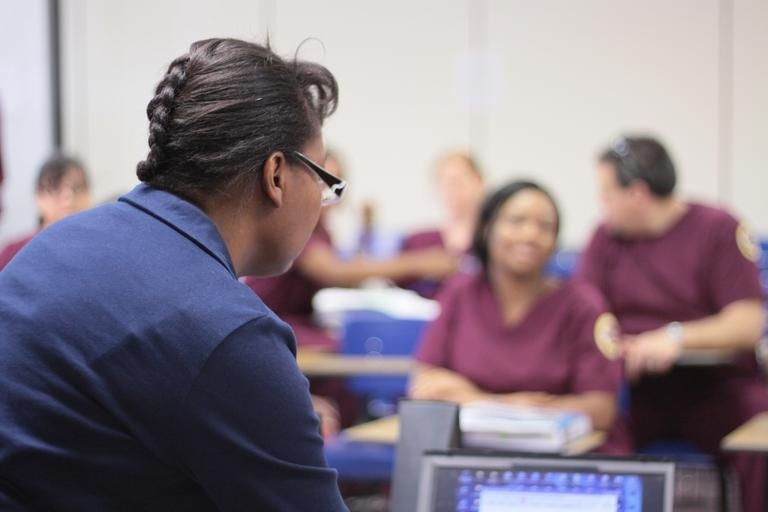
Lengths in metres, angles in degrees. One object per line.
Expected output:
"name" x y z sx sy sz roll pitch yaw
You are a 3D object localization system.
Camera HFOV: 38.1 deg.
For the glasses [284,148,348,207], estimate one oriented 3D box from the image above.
"glasses" -0.130 -0.149 2.181 0.098 0.029 0.093 34 -9 -3
